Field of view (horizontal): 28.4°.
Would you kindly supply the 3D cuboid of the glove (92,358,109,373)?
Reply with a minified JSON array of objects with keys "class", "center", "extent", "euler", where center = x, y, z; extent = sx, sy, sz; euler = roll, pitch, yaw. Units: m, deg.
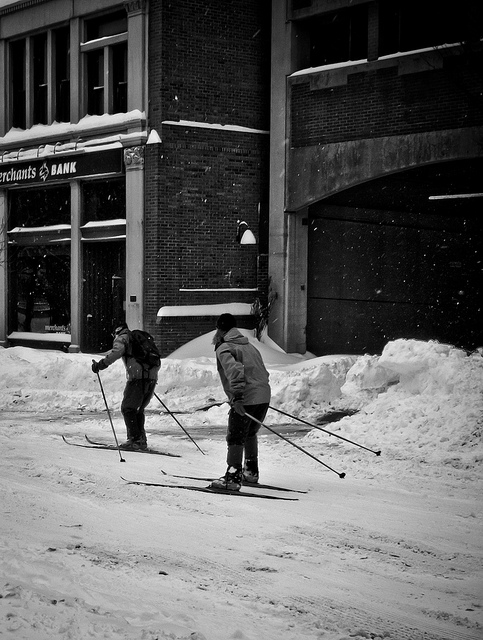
[{"class":"glove","center":[-1.606,0.512,10.826],"extent":[0.151,0.077,0.153],"euler":[-20,-1,-41]}]

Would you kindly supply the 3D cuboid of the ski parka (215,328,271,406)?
[{"class":"ski parka","center":[0.046,0.485,9.125],"extent":[0.341,0.844,0.627],"euler":[-28,-23,21]}]

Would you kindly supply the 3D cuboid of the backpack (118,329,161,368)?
[{"class":"backpack","center":[-1.188,0.301,11.319],"extent":[0.421,0.568,0.345],"euler":[-11,6,2]}]

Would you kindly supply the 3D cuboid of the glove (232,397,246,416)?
[{"class":"glove","center":[-0.018,0.785,8.805],"extent":[0.045,0.163,0.102],"euler":[-9,5,21]}]
